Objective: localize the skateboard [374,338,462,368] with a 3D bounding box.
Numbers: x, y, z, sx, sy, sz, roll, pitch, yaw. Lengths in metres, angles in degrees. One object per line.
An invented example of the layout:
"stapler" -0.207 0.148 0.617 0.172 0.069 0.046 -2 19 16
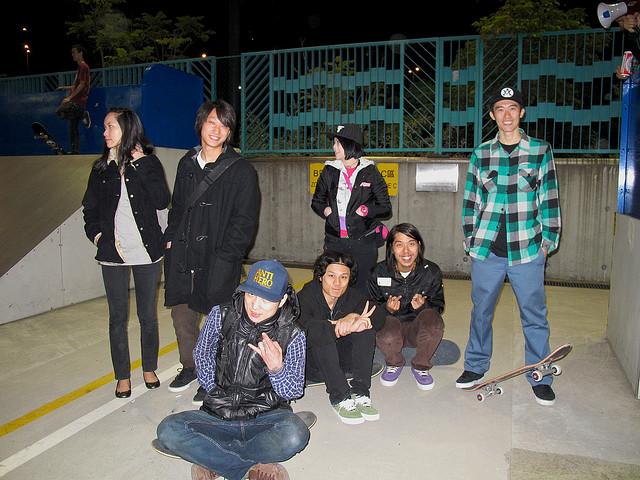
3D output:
"skateboard" 1.080 1.255 4.834 1.055 0.468 0.394 6 -11 -11

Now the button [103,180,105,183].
"button" -1.988 -0.530 3.965 0.019 0.021 0.005 -9 0 11

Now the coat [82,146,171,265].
"coat" -1.800 -0.310 3.975 0.781 1.032 0.385 -3 10 -15

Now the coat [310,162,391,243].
"coat" 0.371 -0.444 5.038 0.927 0.881 0.537 0 10 -1

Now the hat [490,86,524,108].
"hat" 1.766 -1.346 4.060 0.249 0.194 0.473 4 11 23

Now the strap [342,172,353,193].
"strap" 0.329 -0.637 4.924 0.038 0.296 0.014 -9 -16 2

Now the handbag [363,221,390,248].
"handbag" 0.641 0.042 5.042 0.218 0.424 0.417 -3 -7 -6

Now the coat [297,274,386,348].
"coat" 0.120 0.682 3.931 0.666 0.633 0.928 -3 5 -4

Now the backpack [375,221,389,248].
"backpack" 0.706 -0.062 5.038 0.163 0.250 0.250 0 -25 4

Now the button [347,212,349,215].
"button" 0.313 -0.289 4.860 0.020 0.022 0.022 1 1 13

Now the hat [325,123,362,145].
"hat" 0.273 -1.178 4.863 0.338 0.190 0.226 20 9 -10

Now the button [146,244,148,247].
"button" -1.574 0.057 3.914 0.015 0.016 0.016 1 1 -4

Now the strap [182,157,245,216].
"strap" -0.936 -0.461 3.876 0.080 0.598 0.086 36 0 13

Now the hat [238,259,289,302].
"hat" -0.370 0.269 3.043 0.306 0.244 0.419 18 11 13

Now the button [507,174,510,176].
"button" 1.739 -0.594 3.987 0.015 0.016 0.015 19 8 4

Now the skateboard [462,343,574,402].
"skateboard" 1.885 1.289 4.118 0.703 0.134 0.200 -32 -30 19

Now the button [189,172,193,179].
"button" -1.174 -0.575 3.958 0.027 0.031 0.038 9 30 11

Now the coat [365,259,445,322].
"coat" 0.929 0.396 4.690 0.927 0.857 0.582 2 1 14

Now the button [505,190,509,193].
"button" 1.729 -0.436 3.993 0.021 0.023 0.006 1 -8 15

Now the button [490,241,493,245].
"button" 1.605 0.042 4.044 0.035 0.020 0.006 -7 12 -35

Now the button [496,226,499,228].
"button" 1.647 -0.114 4.011 0.016 0.012 0.014 -19 37 -31

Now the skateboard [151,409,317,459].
"skateboard" -0.586 1.328 2.925 1.202 0.140 0.359 -2 1 -26
